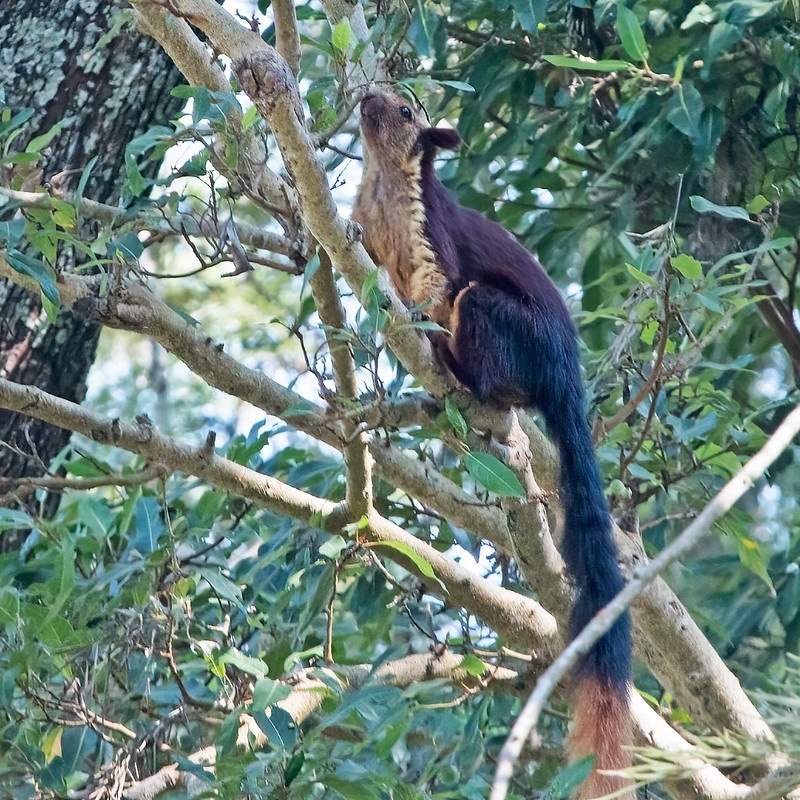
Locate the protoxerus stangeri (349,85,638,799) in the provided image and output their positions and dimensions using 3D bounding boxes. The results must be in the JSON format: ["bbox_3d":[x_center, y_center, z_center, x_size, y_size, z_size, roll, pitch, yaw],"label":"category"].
[{"bbox_3d":[0.228,-0.155,4.184,0.745,1.654,0.543,1,-9,-4],"label":"protoxerus stangeri"}]
